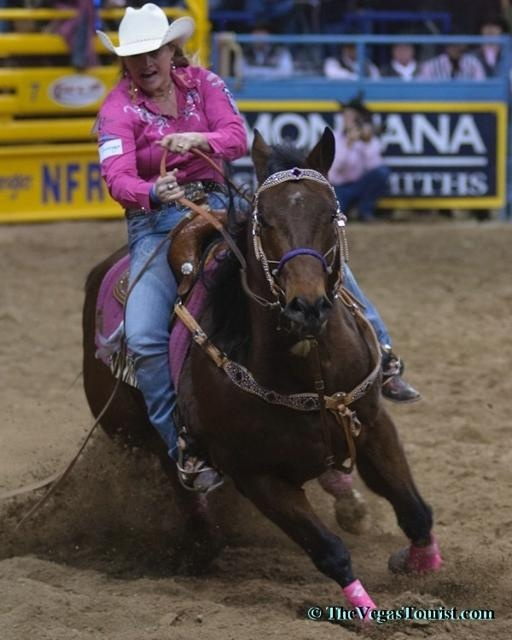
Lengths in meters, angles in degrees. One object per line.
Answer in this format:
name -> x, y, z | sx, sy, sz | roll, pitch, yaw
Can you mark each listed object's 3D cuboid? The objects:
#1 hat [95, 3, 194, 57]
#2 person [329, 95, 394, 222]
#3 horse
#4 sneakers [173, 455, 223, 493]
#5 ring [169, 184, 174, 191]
hat -> -0.440, -1.231, 4.263 | 0.329, 0.131, 0.337 | -14, 9, 14
person -> 1.000, -1.552, 9.772 | 0.494, 1.263, 0.785 | -4, -3, -3
horse -> 0.102, 0.197, 3.837 | 0.936, 1.864, 0.918 | 10, 17, 32
sneakers -> -0.251, 0.656, 4.215 | 0.163, 0.086, 0.209 | 23, -10, -16
ring -> -0.325, -0.509, 3.772 | 0.028, 0.022, 0.006 | 0, 13, -11
